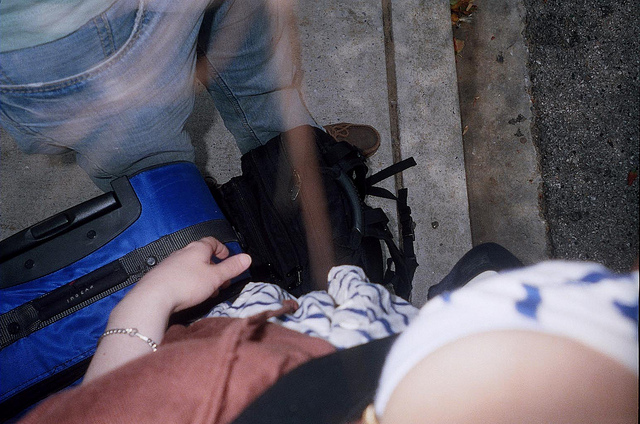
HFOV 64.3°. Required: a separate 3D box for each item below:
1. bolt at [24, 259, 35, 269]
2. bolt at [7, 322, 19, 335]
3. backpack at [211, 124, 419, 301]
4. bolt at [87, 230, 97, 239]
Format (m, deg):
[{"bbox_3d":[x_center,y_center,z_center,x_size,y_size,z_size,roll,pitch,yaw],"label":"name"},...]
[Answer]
[{"bbox_3d":[-0.881,0.156,1.546,0.030,0.006,0.028,-42,90,1],"label":"bolt"},{"bbox_3d":[-0.904,0.343,1.504,0.029,0.008,0.031,2,90,0],"label":"bolt"},{"bbox_3d":[-0.007,0.051,1.873,0.563,0.221,0.768,-33,90,1],"label":"backpack"},{"bbox_3d":[-0.701,0.068,1.567,0.022,0.005,0.022,-31,91,-7],"label":"bolt"}]
